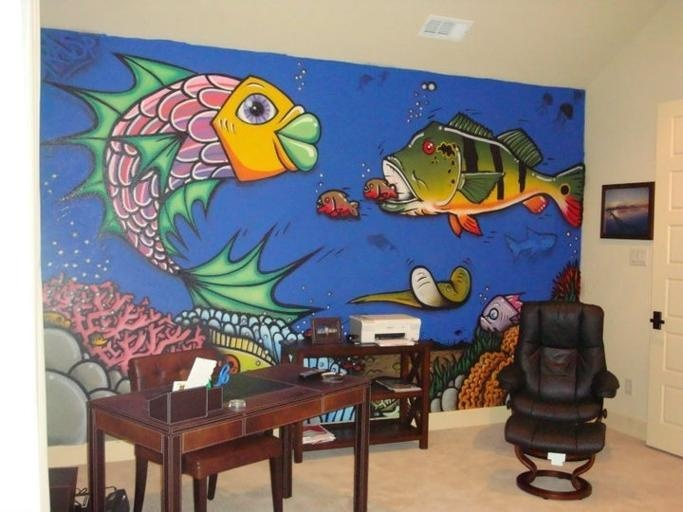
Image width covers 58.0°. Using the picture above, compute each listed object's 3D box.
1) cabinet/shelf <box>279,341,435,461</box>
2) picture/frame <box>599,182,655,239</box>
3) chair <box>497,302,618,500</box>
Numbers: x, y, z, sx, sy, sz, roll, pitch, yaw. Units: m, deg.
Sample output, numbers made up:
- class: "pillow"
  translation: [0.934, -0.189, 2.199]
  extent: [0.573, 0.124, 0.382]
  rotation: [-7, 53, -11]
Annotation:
- class: "cabinet/shelf"
  translation: [0.254, 1.185, 5.377]
  extent: [1.043, 0.873, 0.369]
  rotation: [8, -5, -38]
- class: "picture/frame"
  translation: [2.742, -0.432, 5.881]
  extent: [0.041, 0.563, 0.520]
  rotation: [1, 5, -28]
- class: "chair"
  translation: [1.770, 1.125, 5.088]
  extent: [0.928, 1.380, 1.271]
  rotation: [2, 7, 25]
